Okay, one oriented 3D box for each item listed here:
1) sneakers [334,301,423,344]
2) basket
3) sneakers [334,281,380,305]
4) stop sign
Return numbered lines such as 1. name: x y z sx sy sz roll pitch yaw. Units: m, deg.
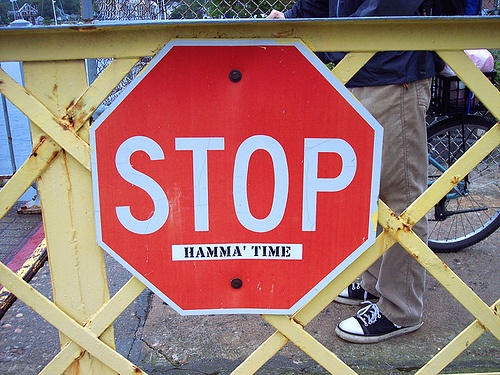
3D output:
1. sneakers: 0.773 0.815 4.479 0.512 0.204 0.240 -1 92 -6
2. basket: 1.422 -0.632 5.062 0.300 0.338 0.217 -2 117 0
3. sneakers: 0.652 0.660 4.707 0.308 0.145 0.157 4 91 0
4. stop sign: -0.073 -0.065 3.538 1.104 0.047 1.153 0 97 -3
